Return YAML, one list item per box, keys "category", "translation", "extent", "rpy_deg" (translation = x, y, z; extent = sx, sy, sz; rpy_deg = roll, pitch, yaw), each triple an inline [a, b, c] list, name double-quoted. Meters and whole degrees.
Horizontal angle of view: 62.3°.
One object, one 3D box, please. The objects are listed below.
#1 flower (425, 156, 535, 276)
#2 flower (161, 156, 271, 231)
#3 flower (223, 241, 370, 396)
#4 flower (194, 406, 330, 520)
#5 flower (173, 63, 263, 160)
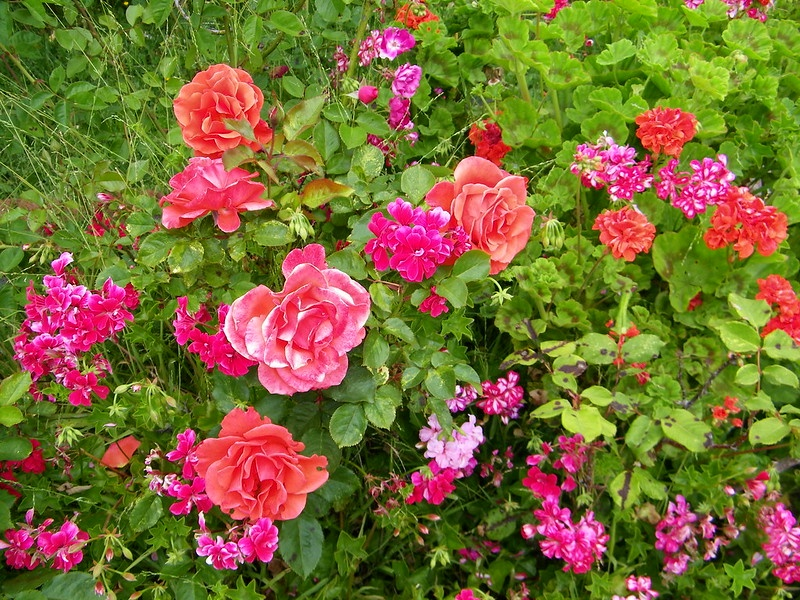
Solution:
- category: "flower"
  translation: [0.229, -0.226, 1.965]
  extent: [0.290, 0.147, 0.321]
  rpy_deg: [-28, 99, -12]
- category: "flower"
  translation: [-0.488, -0.299, 1.775]
  extent: [0.221, 0.168, 0.228]
  rpy_deg: [33, 45, 18]
- category: "flower"
  translation: [-0.253, 0.084, 1.652]
  extent: [0.327, 0.163, 0.345]
  rpy_deg: [27, 96, -24]
- category: "flower"
  translation: [-0.382, 0.463, 1.805]
  extent: [0.320, 0.335, 0.275]
  rpy_deg: [37, 75, 0]
- category: "flower"
  translation: [-0.494, -0.533, 1.858]
  extent: [0.277, 0.202, 0.251]
  rpy_deg: [3, 78, -9]
